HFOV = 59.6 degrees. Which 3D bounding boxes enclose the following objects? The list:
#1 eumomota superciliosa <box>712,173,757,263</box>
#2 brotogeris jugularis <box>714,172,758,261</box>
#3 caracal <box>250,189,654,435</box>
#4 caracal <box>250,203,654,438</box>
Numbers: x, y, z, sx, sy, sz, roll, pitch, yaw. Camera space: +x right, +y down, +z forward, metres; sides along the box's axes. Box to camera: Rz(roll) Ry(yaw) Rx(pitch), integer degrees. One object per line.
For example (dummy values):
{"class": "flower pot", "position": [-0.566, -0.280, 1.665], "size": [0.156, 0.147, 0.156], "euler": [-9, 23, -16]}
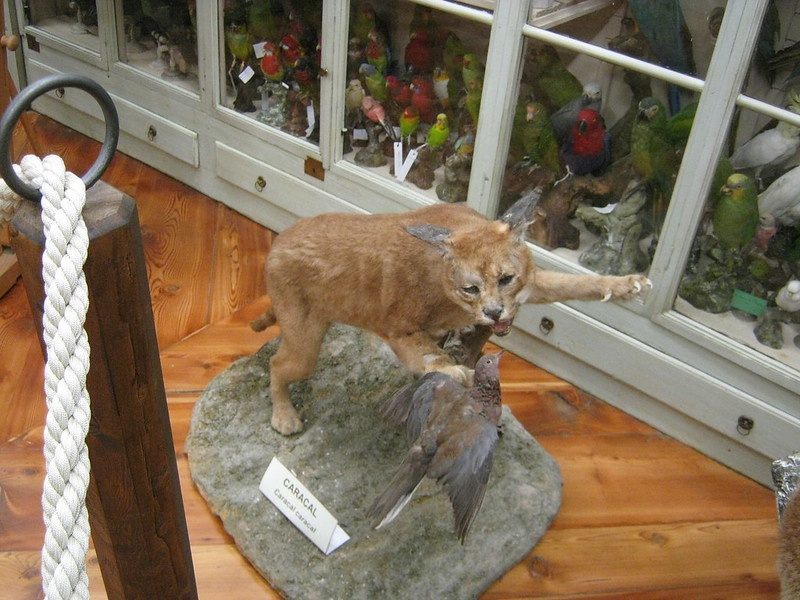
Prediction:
{"class": "eumomota superciliosa", "position": [1.420, -0.375, 2.921], "size": [0.180, 0.328, 0.160], "euler": [-30, 32, -29]}
{"class": "brotogeris jugularis", "position": [1.416, -0.376, 2.920], "size": [0.170, 0.324, 0.178], "euler": [17, 39, 40]}
{"class": "caracal", "position": [0.051, -0.043, 2.774], "size": [1.643, 0.844, 0.640], "euler": [-4, 35, 19]}
{"class": "caracal", "position": [0.070, -0.023, 2.713], "size": [1.438, 0.816, 0.521], "euler": [-9, 32, 24]}
